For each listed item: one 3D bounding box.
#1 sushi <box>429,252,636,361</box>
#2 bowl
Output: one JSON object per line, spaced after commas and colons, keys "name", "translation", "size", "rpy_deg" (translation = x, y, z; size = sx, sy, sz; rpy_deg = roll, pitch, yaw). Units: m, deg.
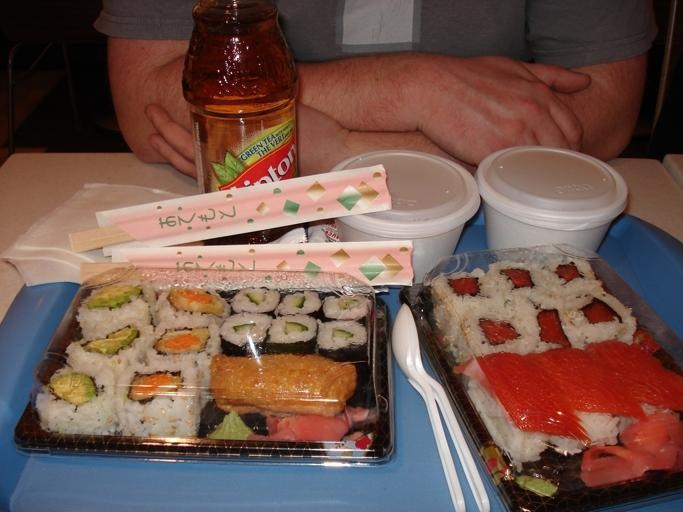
{"name": "sushi", "translation": [0.291, 0.046, 0.906], "size": [0.282, 0.141, 0.152], "rpy_deg": [2, 19, -4]}
{"name": "bowl", "translation": [0.219, -0.052, 0.999], "size": [0.461, 0.149, 0.213], "rpy_deg": [-5, 51, -3]}
